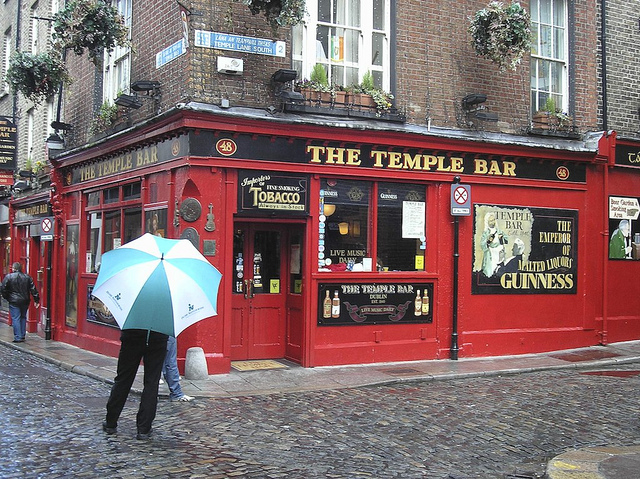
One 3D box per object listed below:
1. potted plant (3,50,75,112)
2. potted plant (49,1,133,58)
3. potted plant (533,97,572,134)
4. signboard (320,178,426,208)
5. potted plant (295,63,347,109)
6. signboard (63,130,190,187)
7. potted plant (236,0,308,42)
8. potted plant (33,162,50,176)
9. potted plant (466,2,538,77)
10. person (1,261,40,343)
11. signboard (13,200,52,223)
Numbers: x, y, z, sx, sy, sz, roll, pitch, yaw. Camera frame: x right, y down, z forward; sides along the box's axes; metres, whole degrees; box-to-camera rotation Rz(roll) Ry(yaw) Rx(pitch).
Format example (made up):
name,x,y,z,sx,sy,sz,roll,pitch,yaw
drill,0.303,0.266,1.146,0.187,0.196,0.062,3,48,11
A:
name,x,y,z,sx,sy,sz,roll,pitch,yaw
potted plant,-7.198,-4.262,17.413,1.553,1.190,0.801,1,3,16
potted plant,-5.203,-4.781,15.571,1.843,1.403,2.026,-1,7,-6
potted plant,5.790,-3.054,16.745,1.107,0.833,0.346,-1,3,-28
signboard,1.227,-1.016,15.111,2.587,0.618,0.054,1,-3,-20
potted plant,0.045,-3.334,14.849,1.129,0.905,0.680,-8,7,-33
signboard,-5.233,-1.946,16.867,0.243,1.060,9.972,-7,5,-33
potted plant,-0.753,-4.546,13.838,0.938,0.654,0.947,1,-3,5
potted plant,-8.734,-2.228,21.335,0.509,0.429,0.463,12,3,-20
potted plant,4.175,-4.695,15.983,1.634,2.090,1.934,0,-6,1
person,-8.108,1.715,18.388,0.833,2.110,1.021,-1,3,-35
signboard,-9.282,-0.892,21.740,0.145,0.782,4.452,-1,3,-35
